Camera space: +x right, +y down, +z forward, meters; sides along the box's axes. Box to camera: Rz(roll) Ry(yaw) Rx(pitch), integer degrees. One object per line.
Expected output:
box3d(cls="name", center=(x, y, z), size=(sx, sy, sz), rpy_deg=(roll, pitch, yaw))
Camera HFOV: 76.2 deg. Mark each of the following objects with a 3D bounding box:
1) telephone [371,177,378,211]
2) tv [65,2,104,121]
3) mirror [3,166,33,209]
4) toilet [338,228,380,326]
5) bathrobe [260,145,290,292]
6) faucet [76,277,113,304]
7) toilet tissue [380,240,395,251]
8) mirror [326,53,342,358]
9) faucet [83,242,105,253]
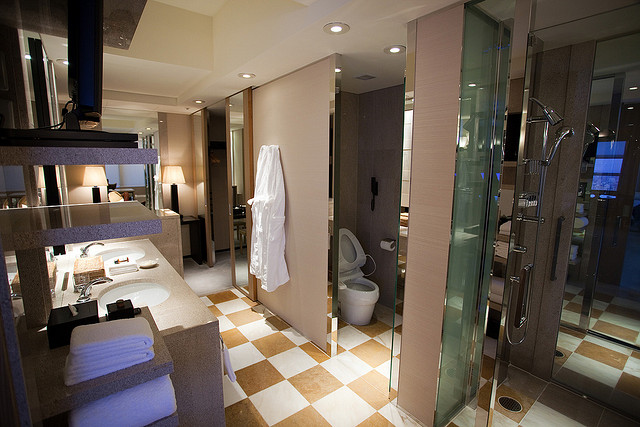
box3d(cls="telephone", center=(0.621, -0.220, 4.676), size=(0.034, 0.377, 0.093), rpy_deg=(-8, 11, -38))
box3d(cls="tv", center=(-1.227, -0.786, 2.153), size=(0.229, 0.592, 0.146), rpy_deg=(-3, 9, -14))
box3d(cls="mirror", center=(-1.683, -0.138, 2.284), size=(0.105, 0.248, 0.546), rpy_deg=(-7, 9, -34))
box3d(cls="toilet", center=(0.424, 0.708, 4.489), size=(0.409, 0.995, 0.615), rpy_deg=(0, 8, 4))
box3d(cls="bathrobe", center=(-0.475, 0.074, 4.267), size=(0.236, 1.547, 0.468), rpy_deg=(-8, 13, -41))
box3d(cls="faucet", center=(-1.690, 0.560, 3.077), size=(0.228, 0.095, 0.295), rpy_deg=(-2, 4, -27))
box3d(cls="toilet tissue", center=(0.756, 0.360, 4.521), size=(0.106, 0.109, 0.187), rpy_deg=(18, 8, 3))
box3d(cls="mirror", center=(0.158, -0.008, 3.753), size=(0.139, 2.758, 0.255), rpy_deg=(6, 11, 37))
box3d(cls="faucet", center=(-2.233, 0.323, 4.031), size=(0.098, 0.053, 0.443), rpy_deg=(-3, 7, -17))
